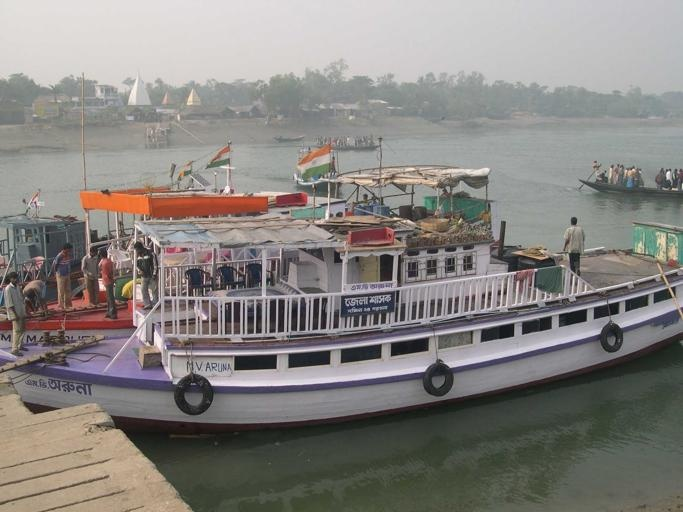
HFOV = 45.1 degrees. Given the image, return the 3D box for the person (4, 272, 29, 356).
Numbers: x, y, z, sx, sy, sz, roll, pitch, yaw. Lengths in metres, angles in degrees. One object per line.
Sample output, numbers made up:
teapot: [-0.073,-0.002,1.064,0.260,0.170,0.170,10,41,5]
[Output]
person: [-6.940,1.206,17.418,0.363,1.686,0.880,-7,10,-22]

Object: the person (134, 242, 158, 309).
person: [-4.291,0.398,18.084,0.463,1.484,0.518,-6,9,-15]

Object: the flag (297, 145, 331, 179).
flag: [-0.577,-2.044,17.870,0.920,0.797,0.170,6,9,43]

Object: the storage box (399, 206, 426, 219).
storage box: [2.183,-1.301,25.125,0.724,0.509,0.420,0,-3,32]

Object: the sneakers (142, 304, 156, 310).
sneakers: [-4.239,1.123,17.989,0.192,0.107,0.426,-9,10,-37]

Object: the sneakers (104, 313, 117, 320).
sneakers: [-5.432,1.433,19.312,0.212,0.076,0.121,10,0,-19]

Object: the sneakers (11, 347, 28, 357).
sneakers: [-6.785,2.022,17.173,0.254,0.138,0.223,-6,9,-21]
